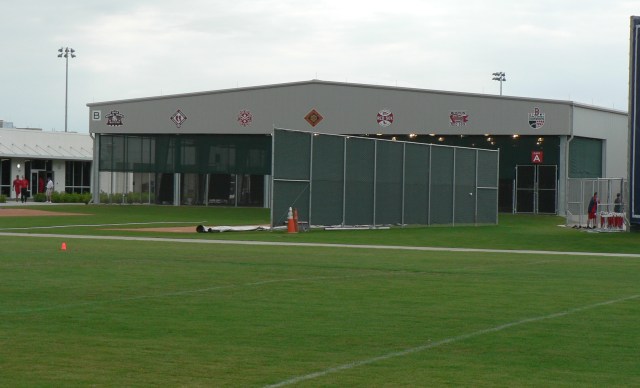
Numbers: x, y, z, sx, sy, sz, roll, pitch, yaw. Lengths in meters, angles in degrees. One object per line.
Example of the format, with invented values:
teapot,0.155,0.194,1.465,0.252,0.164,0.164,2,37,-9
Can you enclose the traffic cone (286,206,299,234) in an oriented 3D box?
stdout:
traffic cone,-1.322,1.227,53.047,0.510,1.249,1.072,0,-3,-2
